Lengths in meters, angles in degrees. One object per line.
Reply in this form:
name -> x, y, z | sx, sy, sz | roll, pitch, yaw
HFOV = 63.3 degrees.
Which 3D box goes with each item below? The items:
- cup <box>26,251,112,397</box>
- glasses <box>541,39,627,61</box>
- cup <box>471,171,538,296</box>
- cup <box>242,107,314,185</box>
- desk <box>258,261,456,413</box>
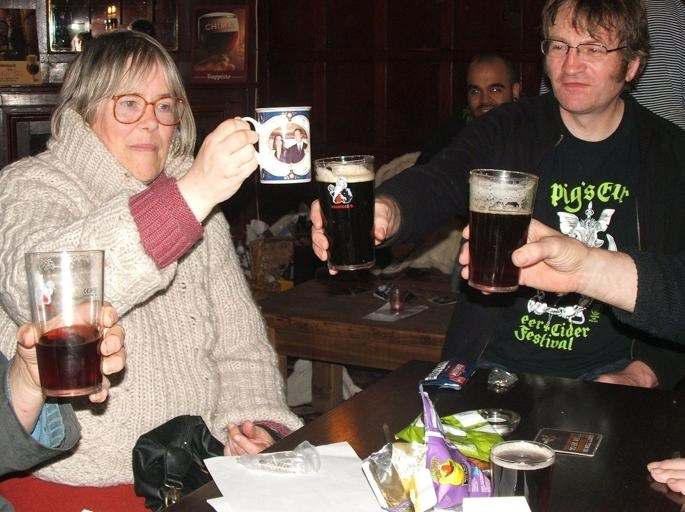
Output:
cup -> -0.577, 0.166, 1.157 | 0.153, 0.363, 0.141 | 1, 14, 0
glasses -> 0.886, -0.775, 2.065 | 0.294, 0.085, 0.131 | 6, 14, 21
cup -> 0.371, -0.059, 1.354 | 0.160, 0.300, 0.110 | 7, 15, 22
cup -> -0.178, -0.303, 1.504 | 0.177, 0.211, 0.132 | 0, 14, -7
desk -> 0.148, 0.485, 3.109 | 0.942, 0.804, 0.899 | 5, 19, 19
